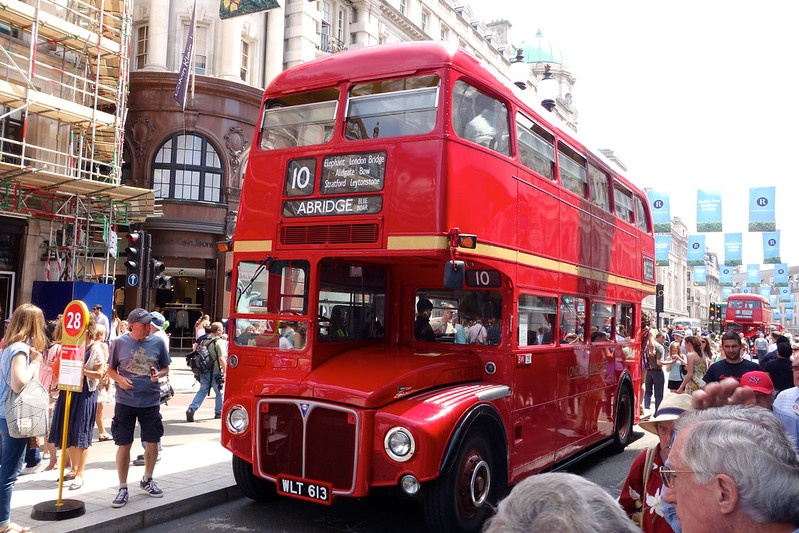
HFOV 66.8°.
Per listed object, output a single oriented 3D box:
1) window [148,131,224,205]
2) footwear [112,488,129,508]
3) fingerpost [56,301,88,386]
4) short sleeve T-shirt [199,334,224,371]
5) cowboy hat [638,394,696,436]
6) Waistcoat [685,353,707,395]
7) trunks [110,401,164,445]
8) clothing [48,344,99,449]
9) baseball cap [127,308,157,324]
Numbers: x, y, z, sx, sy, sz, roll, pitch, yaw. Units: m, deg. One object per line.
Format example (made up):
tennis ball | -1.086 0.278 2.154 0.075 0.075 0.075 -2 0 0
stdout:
window | -10.040 -4.759 28.703 3.286 3.536 0.250 2 37 -21
footwear | -3.436 2.845 7.478 0.186 0.200 0.270 4 -8 -24
fingerpost | -3.886 0.950 7.217 0.246 1.077 0.567 5 -8 -29
short sleeve T-shirt | -4.133 1.928 13.334 0.732 0.791 0.433 4 6 35
cowboy hat | 2.134 1.215 4.896 0.363 0.334 0.603 -3 -8 27
Waistcoat | 5.459 1.982 11.086 0.382 0.850 0.336 -8 19 -3
trunks | -3.398 2.043 7.841 0.688 0.650 0.265 -1 -42 -26
clothing | -4.684 1.872 8.646 0.567 1.619 0.495 19 -44 -36
baseball cap | -3.424 0.645 7.981 0.293 0.151 0.207 -1 -3 -2
